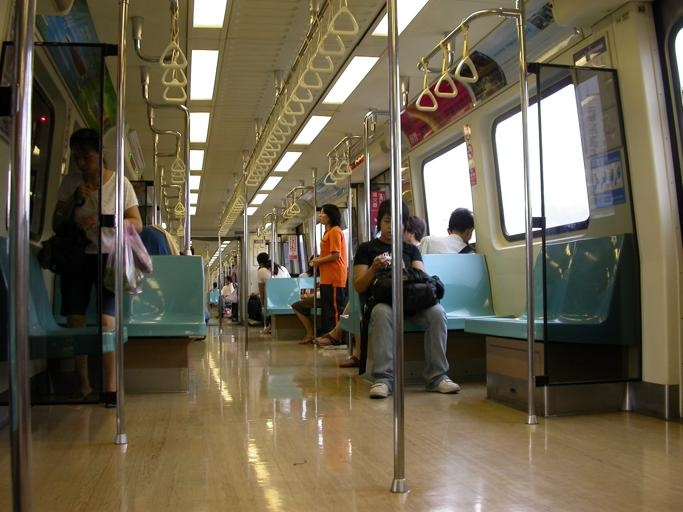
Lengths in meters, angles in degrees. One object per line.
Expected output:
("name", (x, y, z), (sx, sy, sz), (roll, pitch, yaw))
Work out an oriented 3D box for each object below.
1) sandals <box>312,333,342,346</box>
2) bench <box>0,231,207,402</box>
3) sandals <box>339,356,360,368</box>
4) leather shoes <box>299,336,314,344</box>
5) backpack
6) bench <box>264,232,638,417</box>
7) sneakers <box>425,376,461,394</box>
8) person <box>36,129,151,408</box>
("sandals", (-0.184, 1.209, 7.909), (0.314, 0.133, 0.205), (2, -12, -10))
("bench", (-1.643, 0.487, 4.063), (1.108, 1.093, 0.913), (-1, -4, -8))
("sandals", (0.077, 1.140, 5.993), (0.219, 0.097, 0.091), (3, -10, -1))
("leather shoes", (-0.558, 1.321, 8.808), (0.222, 0.108, 0.130), (-5, -4, -10))
("backpack", (0.540, 0.282, 5.060), (0.576, 0.407, 0.765), (6, 7, -5))
("bench", (1.104, 0.542, 4.767), (1.541, 1.297, 2.218), (1, -6, -16))
("sneakers", (0.851, 1.088, 4.712), (0.113, 0.137, 0.316), (6, -14, -29))
("person", (-1.553, 0.077, 3.399), (0.526, 1.633, 0.566), (2, -6, -29))
